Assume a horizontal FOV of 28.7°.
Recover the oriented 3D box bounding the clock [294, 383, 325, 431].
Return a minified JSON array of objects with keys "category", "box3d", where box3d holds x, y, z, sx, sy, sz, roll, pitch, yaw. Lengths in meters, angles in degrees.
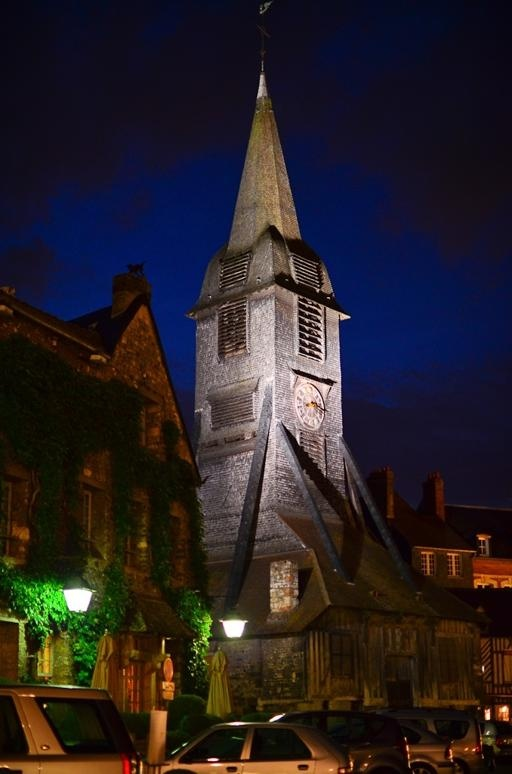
[{"category":"clock","box3d":[2.194,0.806,40.786,0.399,1.696,1.801,-9,-34,34]}]
